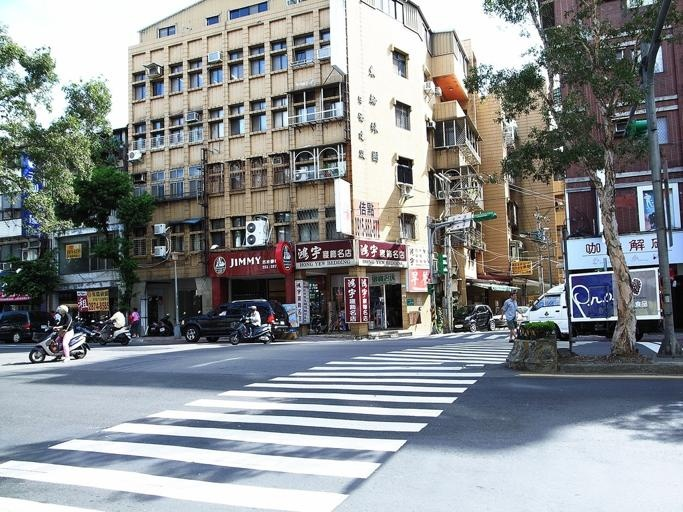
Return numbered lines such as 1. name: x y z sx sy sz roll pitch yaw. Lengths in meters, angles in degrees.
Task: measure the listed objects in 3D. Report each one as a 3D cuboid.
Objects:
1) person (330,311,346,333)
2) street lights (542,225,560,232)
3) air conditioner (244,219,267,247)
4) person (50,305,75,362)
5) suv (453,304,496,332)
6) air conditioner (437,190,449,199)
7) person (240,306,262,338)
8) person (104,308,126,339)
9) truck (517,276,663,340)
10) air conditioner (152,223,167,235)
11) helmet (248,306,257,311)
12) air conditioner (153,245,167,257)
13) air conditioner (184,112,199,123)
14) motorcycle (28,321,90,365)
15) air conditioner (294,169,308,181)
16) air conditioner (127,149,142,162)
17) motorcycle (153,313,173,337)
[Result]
1. person: -0.173 4.042 42.315 0.634 0.872 1.397 -1 -8 -4
2. street lights: 18.468 -2.494 62.171 0.643 0.420 2.902 6 4 -14
3. air conditioner: -5.087 -1.375 41.991 1.397 1.624 0.737 -3 2 -4
4. person: -9.885 2.657 24.869 0.437 1.392 0.708 -2 2 6
5. suv: 7.536 3.673 41.155 1.336 1.209 2.265 -10 -14 41
6. air conditioner: 6.717 -4.116 47.545 0.449 0.543 0.969 -3 2 -2
7. person: -4.034 2.846 31.591 1.032 1.965 0.902 4 -24 -2
8. person: -11.282 3.386 34.892 0.839 0.901 1.904 -4 2 -31
9. truck: 9.891 1.682 27.944 5.105 2.916 2.001 -4 18 20
10. air conditioner: -11.867 -1.742 45.600 1.053 1.042 0.591 1 1 37
11. helmet: -4.067 2.374 32.205 0.196 0.159 0.278 -1 -3 33
12. air conditioner: -11.809 -0.253 45.666 0.931 0.926 0.557 -5 -14 23
13. air conditioner: -9.730 -9.010 45.292 1.050 0.837 0.592 -2 -5 20
14. motorcycle: -10.149 3.135 25.169 2.040 1.294 0.836 0 -1 -38
15. air conditioner: -2.436 -4.728 41.295 0.929 0.683 0.382 -2 2 35
16. air conditioner: -14.006 -6.811 47.383 1.086 0.786 0.521 -2 2 23
17. motorcycle: -11.084 4.334 43.472 0.849 0.790 2.147 -4 2 -34
